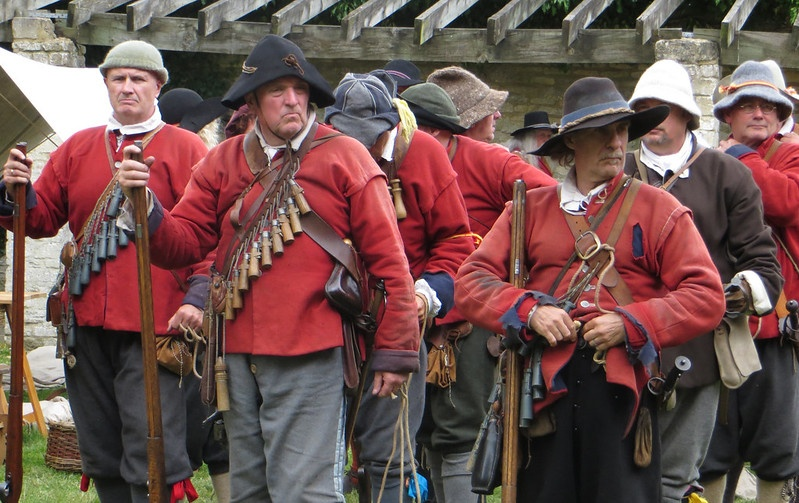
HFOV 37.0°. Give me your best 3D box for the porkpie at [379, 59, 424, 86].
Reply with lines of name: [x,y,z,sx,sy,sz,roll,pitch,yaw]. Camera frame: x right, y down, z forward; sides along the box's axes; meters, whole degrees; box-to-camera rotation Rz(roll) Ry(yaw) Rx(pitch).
porkpie: [0.026,-1.438,9.650,0.335,0.123,0.293,31,-16,-33]

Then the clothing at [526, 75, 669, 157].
clothing: [1.231,-0.887,7.468,0.570,0.246,0.647,-21,-4,18]

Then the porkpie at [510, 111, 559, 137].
porkpie: [1.186,-1.145,10.569,0.415,0.168,0.458,-2,-3,-6]

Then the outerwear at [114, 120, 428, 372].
outerwear: [-0.876,-0.046,7.719,2.069,1.667,0.819,1,5,9]

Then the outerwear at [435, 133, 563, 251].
outerwear: [0.638,-0.386,8.107,0.843,0.411,0.218,17,24,17]

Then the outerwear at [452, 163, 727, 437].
outerwear: [1.184,0.214,7.563,1.732,1.527,0.918,3,11,26]

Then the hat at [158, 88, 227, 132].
hat: [-1.750,-1.149,10.042,0.576,0.228,0.639,-32,6,-12]

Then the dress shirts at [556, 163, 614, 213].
dress shirts: [1.110,-0.385,7.482,0.212,0.278,0.150,-5,-24,11]

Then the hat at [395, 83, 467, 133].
hat: [0.247,-1.031,8.600,0.409,0.153,0.358,12,-2,-43]

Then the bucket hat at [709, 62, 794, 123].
bucket hat: [2.587,-1.209,8.874,0.467,0.285,0.471,2,-12,2]

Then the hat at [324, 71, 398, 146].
hat: [-0.249,-0.949,8.079,0.401,0.537,0.265,4,-42,1]
